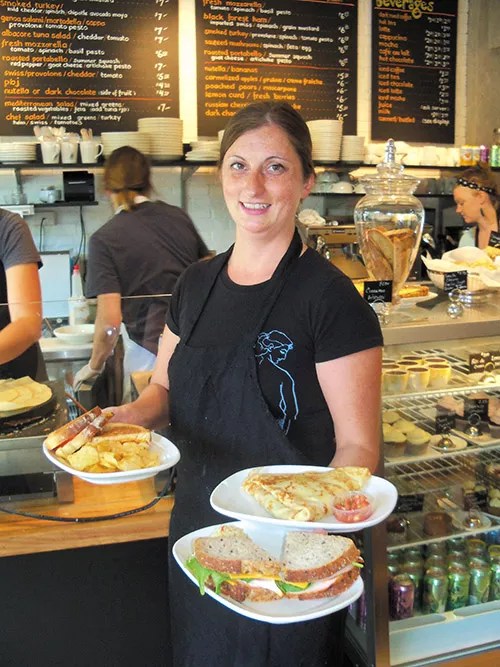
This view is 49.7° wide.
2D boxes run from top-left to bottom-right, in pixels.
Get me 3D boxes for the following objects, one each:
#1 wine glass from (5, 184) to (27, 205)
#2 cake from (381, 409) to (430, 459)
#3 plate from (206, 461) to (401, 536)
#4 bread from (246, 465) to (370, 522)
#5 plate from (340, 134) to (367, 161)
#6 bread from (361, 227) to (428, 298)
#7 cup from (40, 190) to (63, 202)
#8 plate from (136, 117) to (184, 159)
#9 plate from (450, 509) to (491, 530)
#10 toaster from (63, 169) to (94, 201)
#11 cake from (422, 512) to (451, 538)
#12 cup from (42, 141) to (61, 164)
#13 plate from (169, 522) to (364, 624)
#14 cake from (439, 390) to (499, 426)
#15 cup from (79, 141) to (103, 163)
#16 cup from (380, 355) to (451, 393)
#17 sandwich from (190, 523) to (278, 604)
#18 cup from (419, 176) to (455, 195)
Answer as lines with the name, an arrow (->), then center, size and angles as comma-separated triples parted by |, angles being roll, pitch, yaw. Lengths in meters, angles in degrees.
wine glass -> -1.649, -0.990, 3.808 | 0.188, 0.122, 0.094 | 3, 30, -1
cake -> 0.418, 0.268, 1.423 | 0.098, 0.058, 0.144 | -1, 2, 3
plate -> 0.069, 0.223, 0.697 | 0.188, 0.024, 0.133 | -1, 7, 6
bread -> 0.083, 0.196, 0.716 | 0.089, 0.024, 0.085 | -4, 4, -37
plate -> 0.728, -1.313, 3.819 | 0.188, 0.162, 0.188 | 7, 7, 38
bread -> 0.334, -0.171, 1.271 | 0.154, 0.173, 0.162 | 2, 11, 17
cup -> -1.373, -0.957, 3.742 | 0.119, 0.077, 0.113 | 0, 7, 0
plate -> -0.557, -1.262, 3.464 | 0.287, 0.230, 0.286 | 0, 12, 1
plate -> 0.642, 0.550, 1.583 | 0.072, 0.027, 0.067 | 0, 14, 6
toaster -> -1.176, -1.010, 3.727 | 0.223, 0.203, 0.208 | 0, 2, -4
cake -> 0.531, 0.545, 1.542 | 0.070, 0.064, 0.066 | 0, 3, 7
cup -> -1.233, -1.133, 3.366 | 0.111, 0.143, 0.069 | -5, 13, -14
plate -> 0.009, 0.302, 0.664 | 0.164, 0.032, 0.205 | -2, 3, -44
cake -> 0.633, 0.213, 1.550 | 0.141, 0.042, 0.098 | -1, 7, -2
cup -> -1.004, -1.148, 3.400 | 0.170, 0.140, 0.113 | 19, 25, 38
cup -> 0.432, 0.093, 1.400 | 0.103, 0.052, 0.147 | 1, 6, 28
sandwich -> -0.025, 0.275, 0.672 | 0.102, 0.061, 0.134 | -4, 12, -11
cup -> 1.471, -1.181, 4.299 | 0.276, 0.164, 0.237 | 2, 12, 17
